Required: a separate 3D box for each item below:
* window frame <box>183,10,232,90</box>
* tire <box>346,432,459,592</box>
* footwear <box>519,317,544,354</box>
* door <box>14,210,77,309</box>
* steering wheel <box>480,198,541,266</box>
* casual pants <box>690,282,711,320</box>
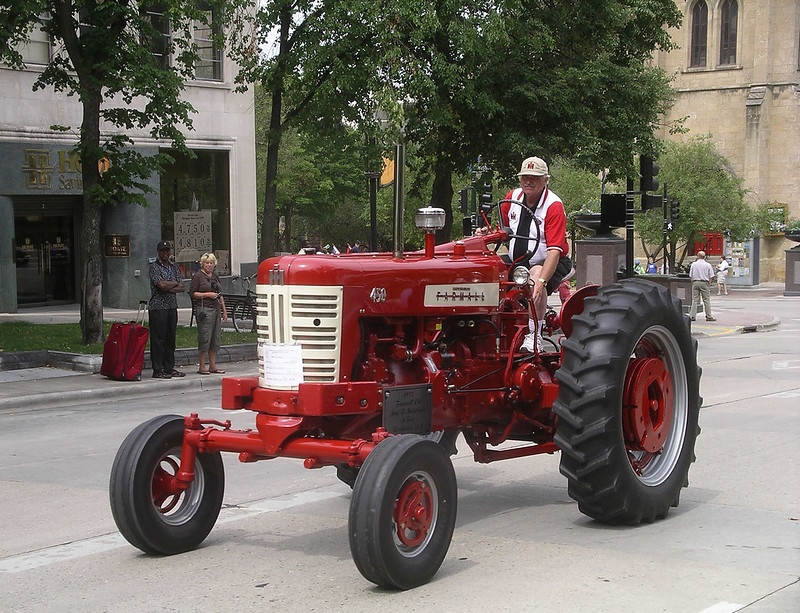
[{"bbox_3d":[-6.331,-8.853,28.099,1.700,2.508,0.063,0,-25,-20],"label":"window frame"},{"bbox_3d":[0.019,1.315,5.297,0.285,0.951,0.816,1,4,38],"label":"tire"},{"bbox_3d":[1.196,0.272,7.124,0.132,0.299,0.414,1,-1,20],"label":"footwear"},{"bbox_3d":[-11.295,-1.526,25.806,0.417,3.497,2.813,0,3,31],"label":"door"},{"bbox_3d":[1.013,-0.655,7.349,0.230,0.667,0.615,-2,12,-28],"label":"steering wheel"},{"bbox_3d":[10.762,-0.297,29.162,0.712,1.491,0.436,0,18,24],"label":"casual pants"}]
